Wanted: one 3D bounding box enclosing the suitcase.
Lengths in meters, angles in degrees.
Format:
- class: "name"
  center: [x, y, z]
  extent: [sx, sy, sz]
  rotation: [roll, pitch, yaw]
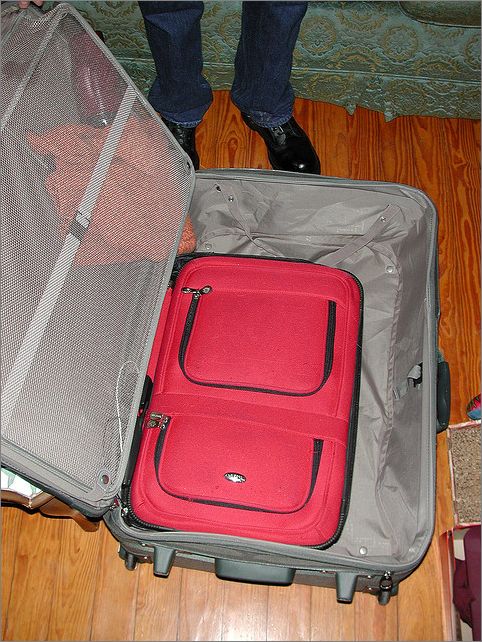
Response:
- class: "suitcase"
  center: [0.009, 0.120, 0.960]
  extent: [0.365, 0.190, 0.527]
  rotation: [7, 69, 7]
